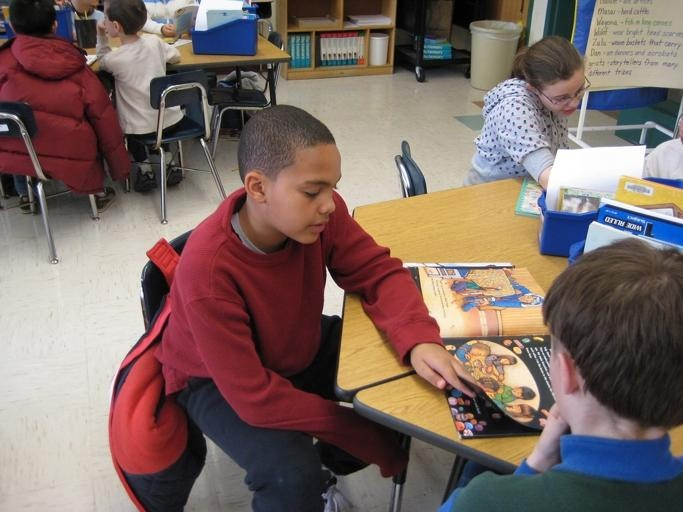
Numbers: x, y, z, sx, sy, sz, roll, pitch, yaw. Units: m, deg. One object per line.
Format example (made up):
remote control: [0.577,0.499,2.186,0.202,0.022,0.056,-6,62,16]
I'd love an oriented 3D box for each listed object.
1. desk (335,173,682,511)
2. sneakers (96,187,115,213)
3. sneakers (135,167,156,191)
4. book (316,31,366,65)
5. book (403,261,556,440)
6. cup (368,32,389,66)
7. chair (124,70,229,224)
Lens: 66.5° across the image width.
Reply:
desk: [0.405,0.433,1.804,0.867,0.349,1.309,-7,42,-8]
sneakers: [-1.632,-0.401,3.630,0.092,0.106,0.262,2,32,0]
sneakers: [-1.430,-0.532,3.760,0.098,0.126,0.253,-7,14,-24]
book: [-0.041,-2.665,6.336,0.617,0.612,0.355,0,30,-5]
book: [0.342,0.298,1.339,0.280,0.043,0.504,-2,40,-8]
cup: [0.406,-2.559,6.480,0.336,0.349,0.342,0,30,0]
chair: [-1.035,-0.816,3.606,0.615,0.805,0.620,11,24,25]
